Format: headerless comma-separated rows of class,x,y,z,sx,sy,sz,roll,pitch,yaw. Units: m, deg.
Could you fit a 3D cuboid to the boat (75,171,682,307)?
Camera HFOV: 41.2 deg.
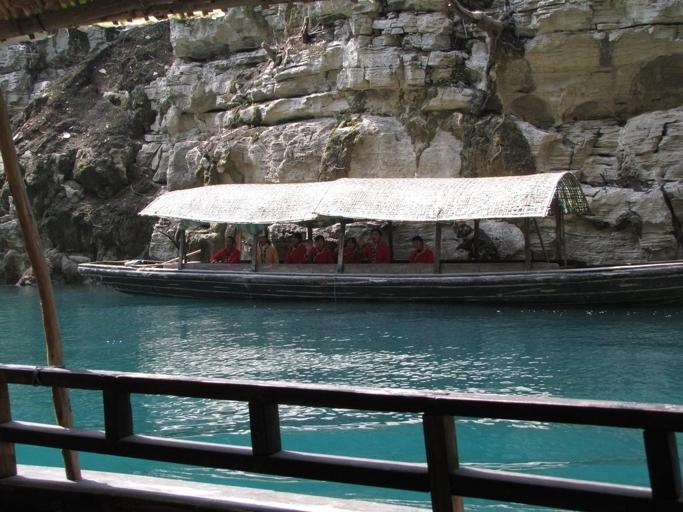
boat,-1.106,-0.417,23.419,19.583,2.790,3.957,0,-1,18

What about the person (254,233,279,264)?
person,-2.014,-0.174,24.305,0.597,0.975,0.366,-34,-46,20
